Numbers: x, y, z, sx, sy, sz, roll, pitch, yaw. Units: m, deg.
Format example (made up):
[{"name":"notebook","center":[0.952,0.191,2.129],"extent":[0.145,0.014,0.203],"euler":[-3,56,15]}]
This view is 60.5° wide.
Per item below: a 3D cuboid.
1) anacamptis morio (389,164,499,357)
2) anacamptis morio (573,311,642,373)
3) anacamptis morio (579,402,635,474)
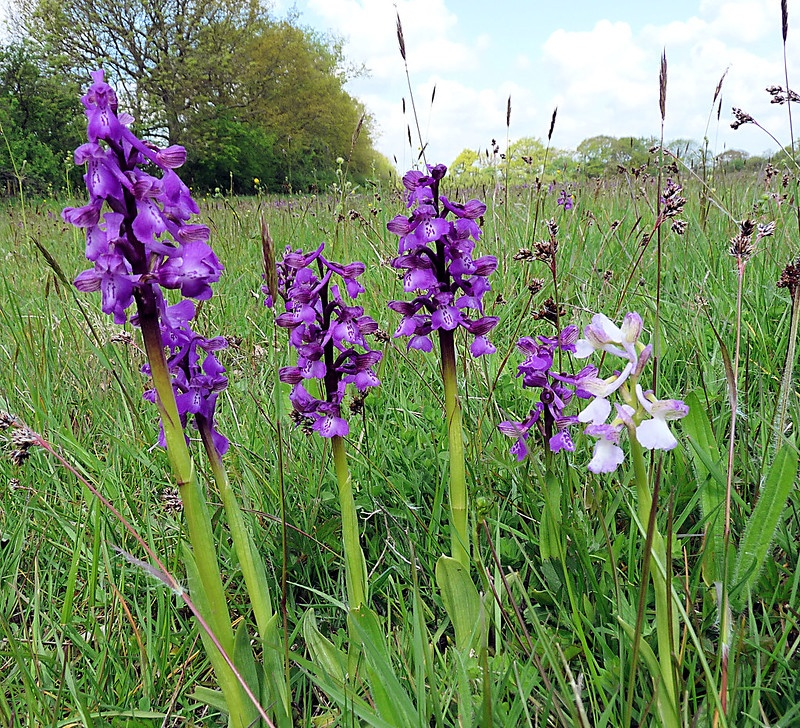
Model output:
[{"name":"anacamptis morio","center":[0.151,-0.329,2.385],"extent":[0.275,0.746,0.354],"euler":[1,5,-3]},{"name":"anacamptis morio","center":[0.510,-0.075,1.691],"extent":[0.146,0.135,0.150],"euler":[5,16,20]},{"name":"anacamptis morio","center":[0.492,0.169,1.675],"extent":[0.097,0.198,0.061],"euler":[3,4,-6]}]
